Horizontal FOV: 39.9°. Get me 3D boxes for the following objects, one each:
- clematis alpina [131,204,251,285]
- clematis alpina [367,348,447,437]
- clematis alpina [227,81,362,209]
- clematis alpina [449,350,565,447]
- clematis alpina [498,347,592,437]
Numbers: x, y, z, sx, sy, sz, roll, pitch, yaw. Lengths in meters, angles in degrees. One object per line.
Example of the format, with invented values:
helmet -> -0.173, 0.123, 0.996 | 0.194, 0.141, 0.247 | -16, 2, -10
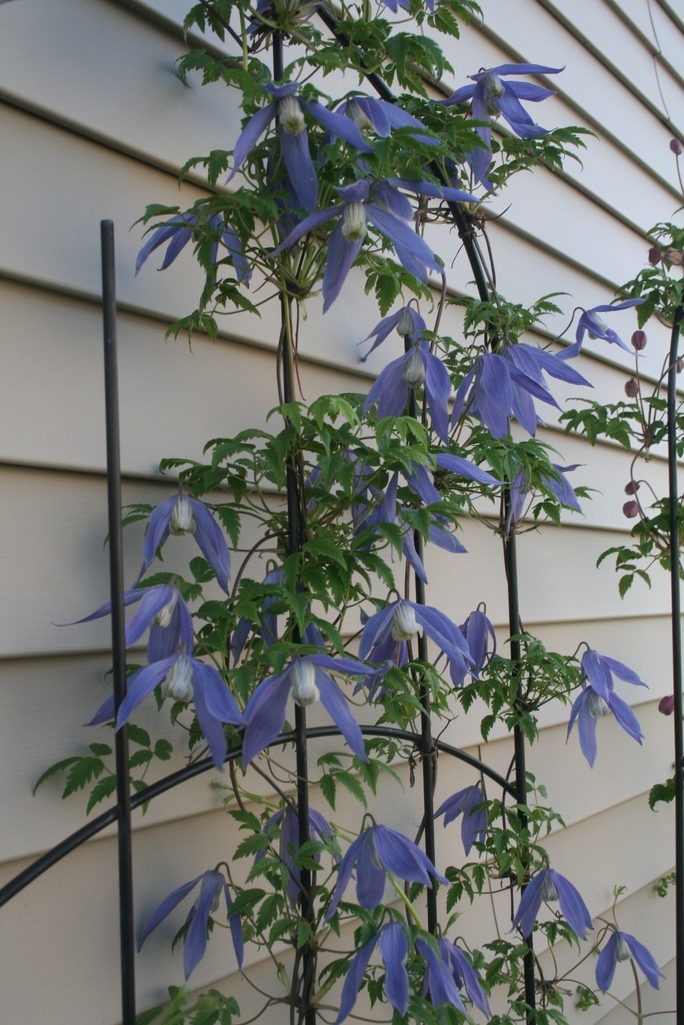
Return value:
clematis alpina -> -0.192, -0.371, 1.212 | 0.140, 0.064, 0.125 | 19, 2, 17
clematis alpina -> 0.069, -0.160, 1.248 | 0.116, 0.057, 0.119 | -10, -9, 37
clematis alpina -> -0.046, -0.425, 0.997 | 0.116, 0.120, 0.040 | -1, -55, -23
clematis alpina -> 0.224, -0.154, 1.310 | 0.095, 0.110, 0.104 | 5, -21, -25
clematis alpina -> 0.270, -0.156, 1.347 | 0.126, 0.131, 0.038 | -33, -10, -33
